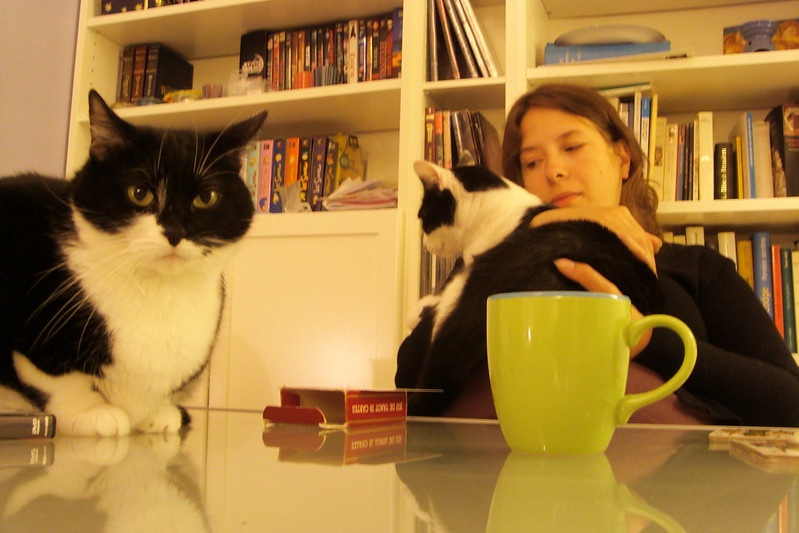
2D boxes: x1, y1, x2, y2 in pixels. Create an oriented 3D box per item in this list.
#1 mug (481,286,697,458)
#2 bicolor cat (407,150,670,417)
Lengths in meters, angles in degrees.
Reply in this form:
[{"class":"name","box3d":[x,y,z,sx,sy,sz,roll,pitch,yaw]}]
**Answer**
[{"class":"mug","box3d":[0.229,0.134,0.839,0.260,0.191,0.178,-3,-8,35]},{"class":"bicolor cat","box3d":[0.245,0.036,1.393,0.509,0.528,0.369,-5,-3,30]}]
